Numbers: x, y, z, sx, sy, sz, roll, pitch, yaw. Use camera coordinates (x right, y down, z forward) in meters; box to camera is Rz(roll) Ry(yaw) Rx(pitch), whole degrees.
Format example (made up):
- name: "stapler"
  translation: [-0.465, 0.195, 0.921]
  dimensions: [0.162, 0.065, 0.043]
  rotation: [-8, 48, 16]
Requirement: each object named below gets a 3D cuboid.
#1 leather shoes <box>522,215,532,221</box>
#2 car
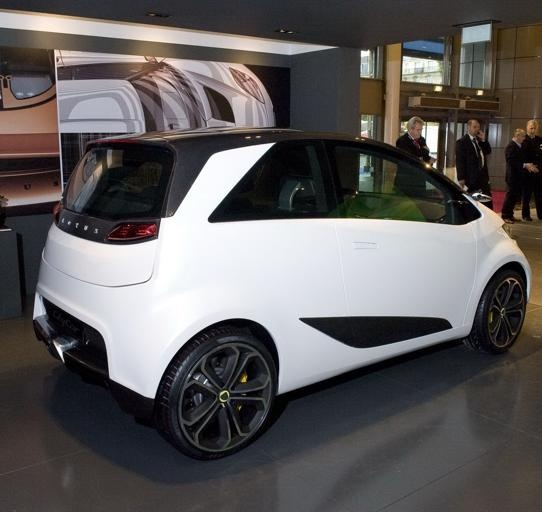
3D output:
- name: "leather shoes"
  translation: [6.380, -0.945, 9.677]
  dimensions: [0.270, 0.127, 0.104]
  rotation: [2, 21, -8]
- name: "car"
  translation: [0.121, 0.050, 2.540]
  dimensions: [2.598, 1.324, 1.449]
  rotation: [-11, 17, -31]
